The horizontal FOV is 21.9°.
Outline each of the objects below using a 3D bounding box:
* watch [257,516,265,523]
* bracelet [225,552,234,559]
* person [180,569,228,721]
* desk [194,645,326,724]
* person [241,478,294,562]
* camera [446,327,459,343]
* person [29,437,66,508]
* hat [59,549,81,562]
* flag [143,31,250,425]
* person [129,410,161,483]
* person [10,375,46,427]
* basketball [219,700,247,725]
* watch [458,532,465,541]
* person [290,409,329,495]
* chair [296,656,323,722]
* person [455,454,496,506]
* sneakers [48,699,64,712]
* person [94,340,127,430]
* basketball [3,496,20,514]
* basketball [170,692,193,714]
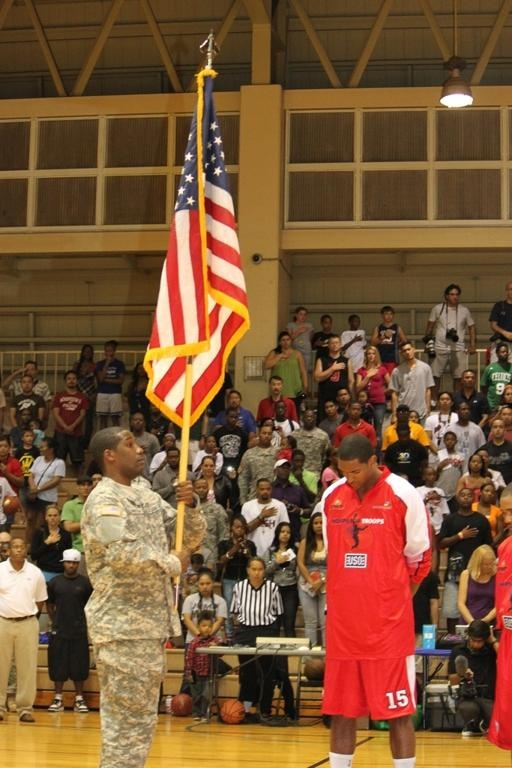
[{"bbox_3d":[0.044,1.375,13.365,0.072,0.050,0.069,0,5,3],"label":"watch"},{"bbox_3d":[-0.263,1.710,13.132,0.071,0.066,0.021,3,-11,-7],"label":"bracelet"},{"bbox_3d":[-0.485,2.431,12.383,0.423,1.351,0.355,2,-1,17],"label":"person"},{"bbox_3d":[0.099,2.683,12.047,1.019,0.732,1.369,0,-10,2],"label":"desk"},{"bbox_3d":[0.107,1.515,13.500,0.488,1.028,0.288,-5,11,-12],"label":"person"},{"bbox_3d":[2.578,-0.637,17.329,0.136,0.182,0.068,1,-4,32],"label":"camera"},{"bbox_3d":[-2.472,1.068,15.566,0.400,0.822,0.428,2,-10,-9],"label":"person"},{"bbox_3d":[-1.778,1.662,12.753,0.123,0.092,0.161,2,-17,-6],"label":"hat"},{"bbox_3d":[-0.314,-0.946,8.283,0.653,2.547,0.556,6,-12,-29],"label":"flag"},{"bbox_3d":[-1.371,0.867,15.779,0.464,1.002,0.428,-4,-8,-10],"label":"person"},{"bbox_3d":[-3.085,0.251,17.739,0.446,0.783,0.422,2,7,2],"label":"person"},{"bbox_3d":[-0.221,2.977,12.017,0.194,0.188,0.195,1,1,9],"label":"basketball"},{"bbox_3d":[2.004,1.488,12.944,0.055,0.078,0.076,5,-10,29],"label":"watch"},{"bbox_3d":[0.595,0.863,14.919,0.512,1.107,0.297,2,7,3],"label":"person"},{"bbox_3d":[0.478,2.732,12.144,0.309,0.538,0.322,-7,-12,13],"label":"chair"},{"bbox_3d":[2.322,1.161,13.923,0.425,0.816,0.250,1,-2,-7],"label":"person"},{"bbox_3d":[-1.910,3.058,12.643,0.149,0.143,0.312,2,-10,-7],"label":"sneakers"},{"bbox_3d":[-2.021,0.018,18.197,0.374,1.233,0.577,2,-10,-7],"label":"person"},{"bbox_3d":[-2.748,1.358,14.804,0.174,0.214,0.369,3,-10,-12],"label":"basketball"},{"bbox_3d":[-0.687,2.963,12.233,0.148,0.191,0.203,-6,-26,10],"label":"basketball"}]
